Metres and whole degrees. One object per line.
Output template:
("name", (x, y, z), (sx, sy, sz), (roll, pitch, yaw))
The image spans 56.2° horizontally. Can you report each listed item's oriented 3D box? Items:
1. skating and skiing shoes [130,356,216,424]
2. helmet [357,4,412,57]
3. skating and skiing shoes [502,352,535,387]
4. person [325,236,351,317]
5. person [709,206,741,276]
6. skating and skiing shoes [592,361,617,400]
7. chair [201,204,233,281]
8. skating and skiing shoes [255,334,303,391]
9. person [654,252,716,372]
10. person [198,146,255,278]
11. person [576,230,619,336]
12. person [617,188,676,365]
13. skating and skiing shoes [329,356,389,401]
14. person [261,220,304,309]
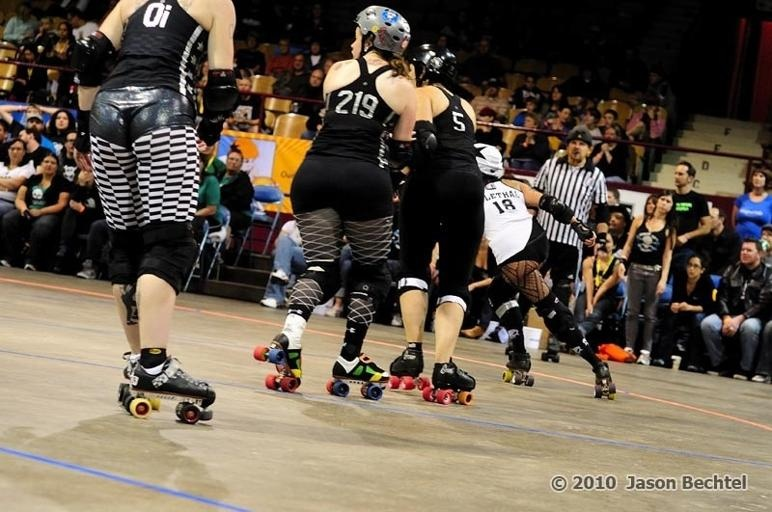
("skating and skiing shoes", (-1.083, 0.667, 3.695), (0.435, 0.240, 0.148), (17, -25, -22))
("helmet", (0.003, -1.513, 4.903), (0.369, 0.277, 0.279), (19, 14, 1))
("skating and skiing shoes", (1.217, 1.017, 6.578), (0.275, 0.283, 0.261), (8, -2, 11))
("person", (-0.697, 0.358, 10.946), (0.255, 1.127, 0.544), (9, -2, -4))
("person", (5.401, -0.172, 11.649), (0.347, 1.319, 0.395), (4, -7, -5))
("skating and skiing shoes", (1.921, 1.096, 6.387), (0.199, 0.285, 0.272), (8, -2, 18))
("chair", (-2.716, -0.187, 11.576), (0.435, 1.246, 0.510), (2, -1, -19))
("skating and skiing shoes", (-0.702, 0.715, 4.769), (0.244, 0.329, 0.283), (-3, 20, 40))
("person", (4.454, 0.857, 10.848), (0.910, 1.718, 0.573), (0, -7, 0))
("person", (-2.583, -0.726, 11.786), (0.799, 2.158, 0.797), (1, -2, -13))
("person", (3.297, 0.501, 11.218), (0.843, 1.801, 0.769), (6, 2, 0))
("person", (3.919, 0.314, 10.924), (0.782, 2.559, 0.786), (6, 2, 2))
("skating and skiing shoes", (-0.188, 0.814, 4.910), (0.421, 0.289, 0.233), (9, -2, -15))
("person", (-1.486, 0.143, 10.328), (0.606, 1.472, 0.638), (2, 0, 12))
